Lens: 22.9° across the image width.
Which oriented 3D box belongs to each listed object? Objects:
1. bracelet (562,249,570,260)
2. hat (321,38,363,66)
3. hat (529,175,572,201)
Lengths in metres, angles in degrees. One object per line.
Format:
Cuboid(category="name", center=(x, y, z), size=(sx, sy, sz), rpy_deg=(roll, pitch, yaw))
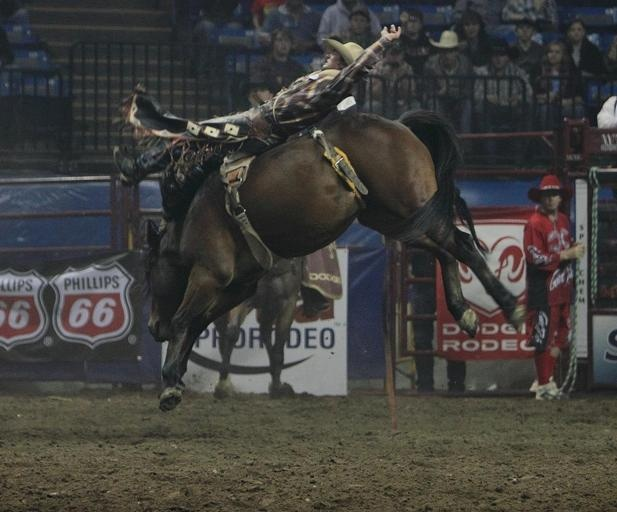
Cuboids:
Cuboid(category="bracelet", center=(3.516, -0.040, 20.863), size=(0.047, 0.165, 0.120), rpy_deg=(18, 15, 40))
Cuboid(category="hat", center=(0.415, -2.371, 17.469), size=(0.481, 0.308, 0.334), rpy_deg=(0, 2, 12))
Cuboid(category="hat", center=(3.331, -1.000, 21.156), size=(0.398, 0.182, 0.453), rpy_deg=(-3, -12, 11))
